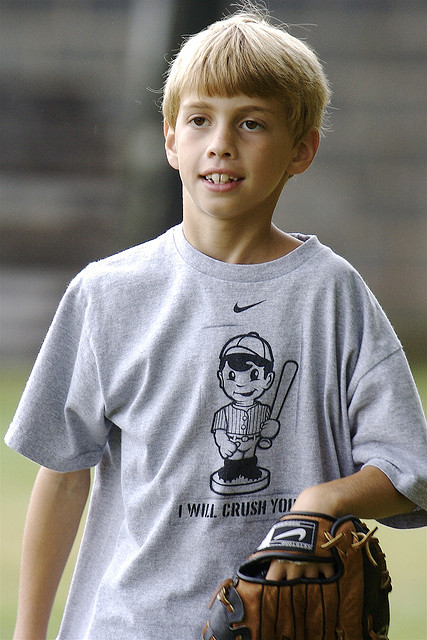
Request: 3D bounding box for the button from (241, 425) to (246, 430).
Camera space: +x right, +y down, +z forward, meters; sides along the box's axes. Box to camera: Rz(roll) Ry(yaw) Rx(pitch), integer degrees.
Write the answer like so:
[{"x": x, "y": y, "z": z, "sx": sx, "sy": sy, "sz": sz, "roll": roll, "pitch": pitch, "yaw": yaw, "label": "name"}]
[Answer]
[{"x": 0.036, "y": 0.132, "z": 1.274, "sx": 0.006, "sy": 0.006, "sz": 0.001, "roll": 1, "pitch": -2, "yaw": -4, "label": "button"}]
